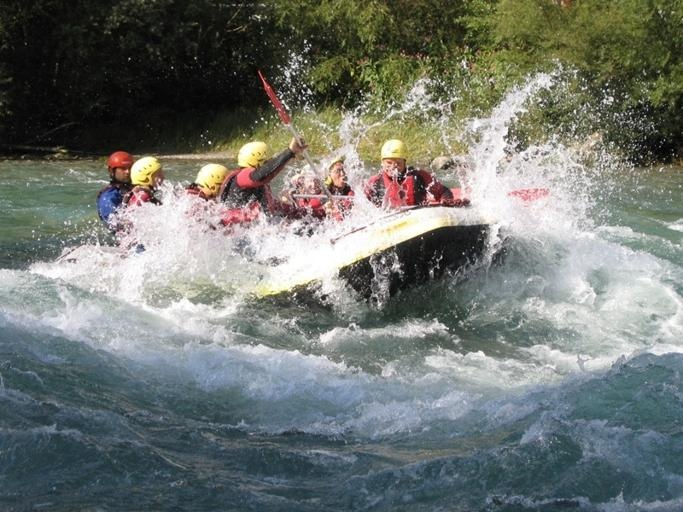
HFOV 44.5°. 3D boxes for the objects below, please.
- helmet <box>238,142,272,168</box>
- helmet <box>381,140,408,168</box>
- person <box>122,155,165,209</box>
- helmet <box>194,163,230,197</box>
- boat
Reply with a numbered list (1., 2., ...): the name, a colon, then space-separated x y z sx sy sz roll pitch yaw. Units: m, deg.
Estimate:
1. helmet: -1.267 -1.404 11.914 0.425 0.362 0.307 -32 29 -19
2. helmet: 0.743 -1.498 12.123 0.277 0.312 0.386 4 24 5
3. person: -2.844 -1.055 12.039 0.605 0.828 0.574 -4 1 -10
4. helmet: -1.962 -1.117 12.106 0.484 0.501 0.373 26 -5 -30
5. boat: 0.439 0.059 11.541 2.464 0.670 1.500 -22 5 10
